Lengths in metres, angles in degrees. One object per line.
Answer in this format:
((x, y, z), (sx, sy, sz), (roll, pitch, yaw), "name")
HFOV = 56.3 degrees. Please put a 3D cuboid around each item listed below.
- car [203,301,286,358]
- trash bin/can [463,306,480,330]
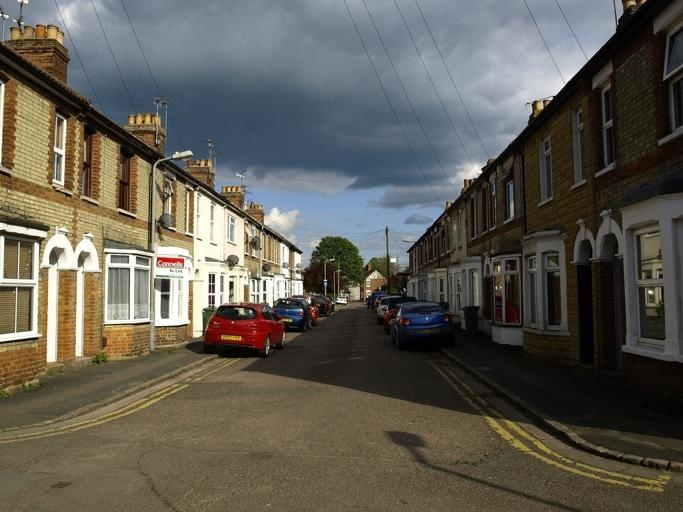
((-2.790, 2.237, 20.377), (1.198, 1.103, 2.641), (-1, -1, 11), "car")
((5.287, 2.629, 25.947), (0.676, 1.325, 0.839), (1, -13, 1), "trash bin/can")
